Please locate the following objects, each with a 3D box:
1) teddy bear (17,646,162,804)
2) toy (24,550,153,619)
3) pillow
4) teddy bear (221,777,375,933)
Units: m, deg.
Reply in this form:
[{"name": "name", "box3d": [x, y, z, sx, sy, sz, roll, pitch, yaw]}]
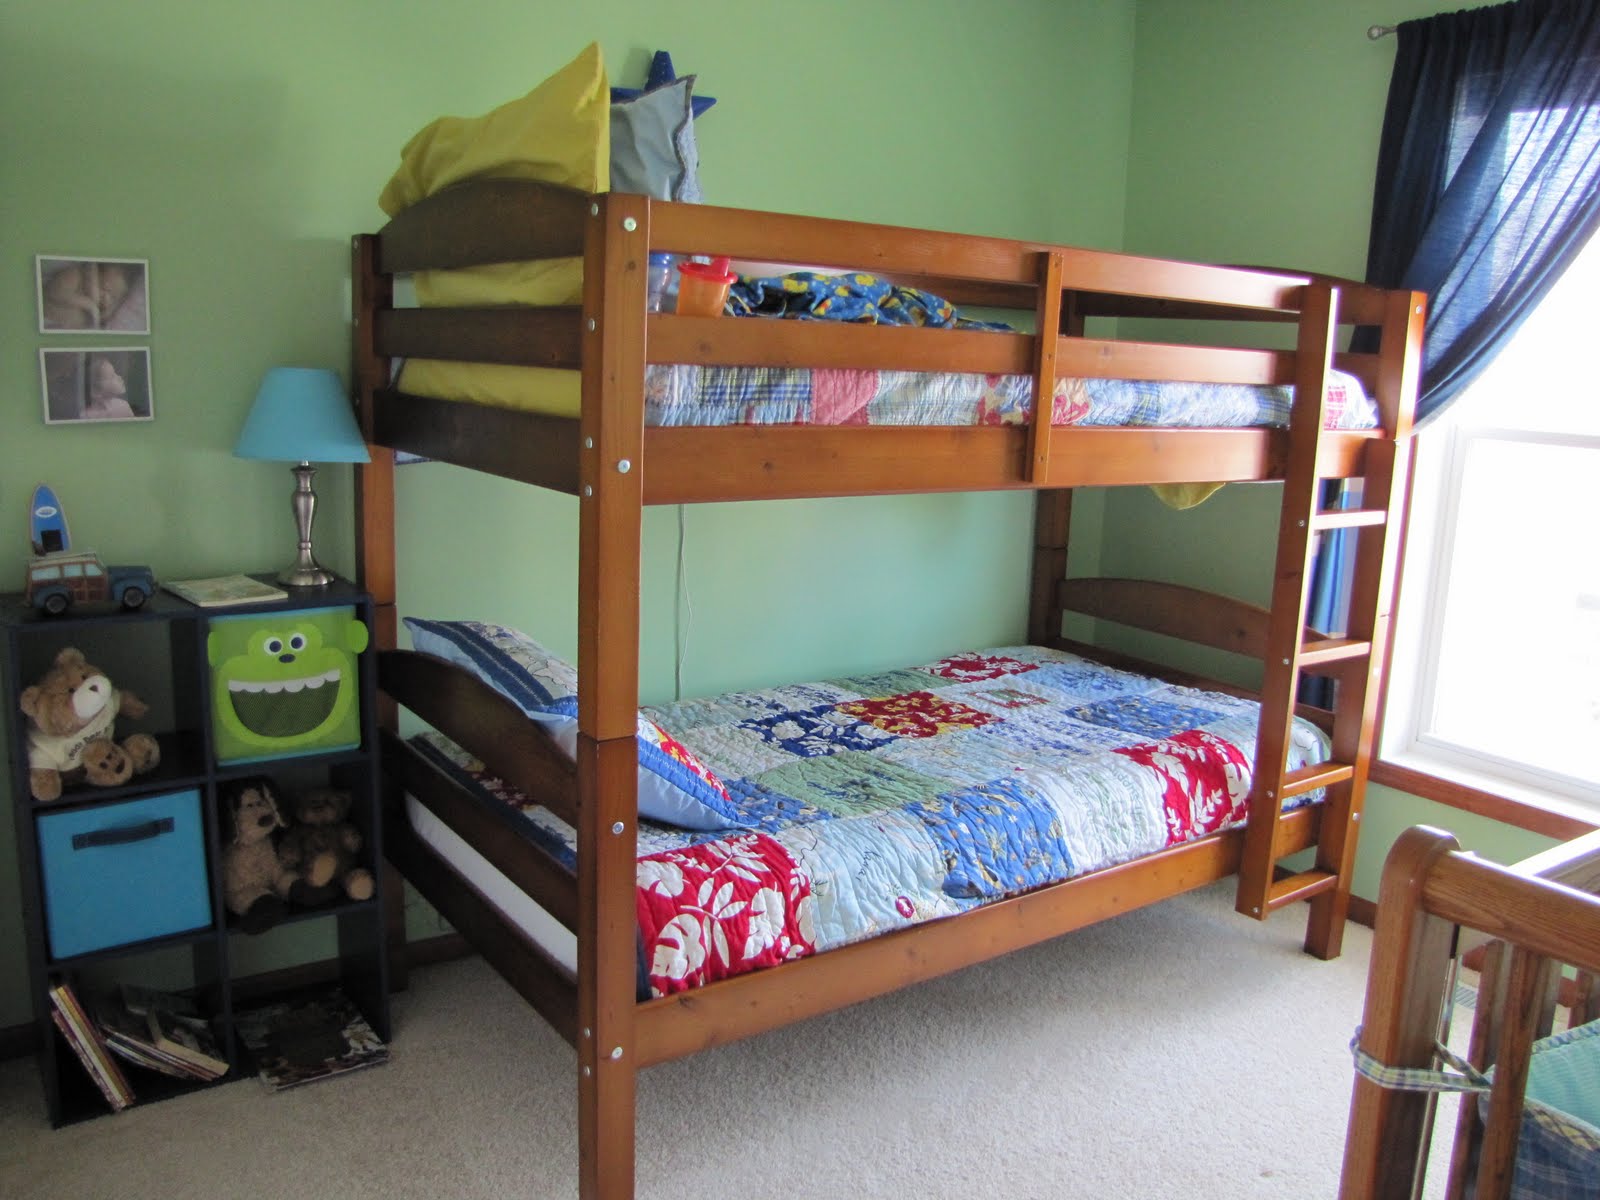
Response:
[{"name": "teddy bear", "box3d": [-1.793, 0.319, 3.354, 0.212, 0.266, 0.290, 19, 32, 13]}, {"name": "toy", "box3d": [-1.760, -0.034, 3.316, 0.271, 0.138, 0.155, -8, 20, -27]}, {"name": "pillow", "box3d": [-0.663, -0.803, 3.034, 0.806, 0.752, 0.893, -1, 17, 0]}, {"name": "teddy bear", "box3d": [-1.386, 0.666, 3.631, 0.418, 0.096, 0.349, -2, 57, -33]}]
